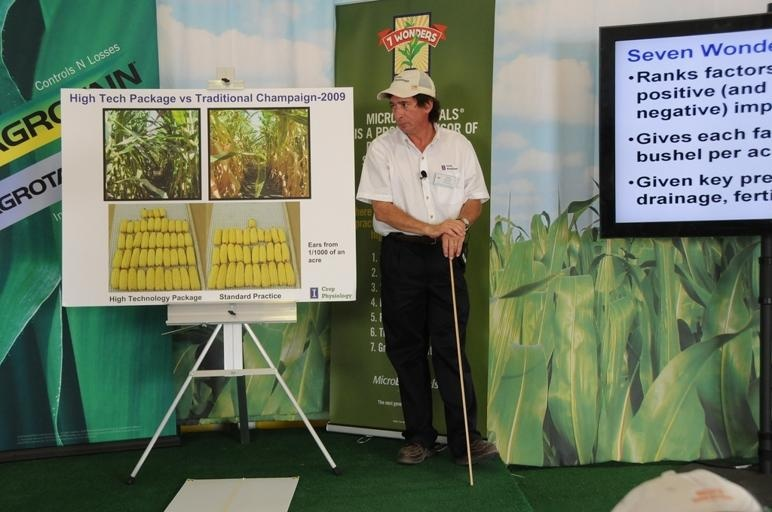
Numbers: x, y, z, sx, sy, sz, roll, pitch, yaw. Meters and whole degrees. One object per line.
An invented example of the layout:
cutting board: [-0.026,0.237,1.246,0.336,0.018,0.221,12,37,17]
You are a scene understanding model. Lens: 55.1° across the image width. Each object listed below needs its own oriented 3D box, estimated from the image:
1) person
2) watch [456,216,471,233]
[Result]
person: [0.278,0.091,5.318,0.918,2.653,0.739,1,6,1]
watch: [0.501,-0.205,4.846,0.079,0.090,0.100,3,12,24]
